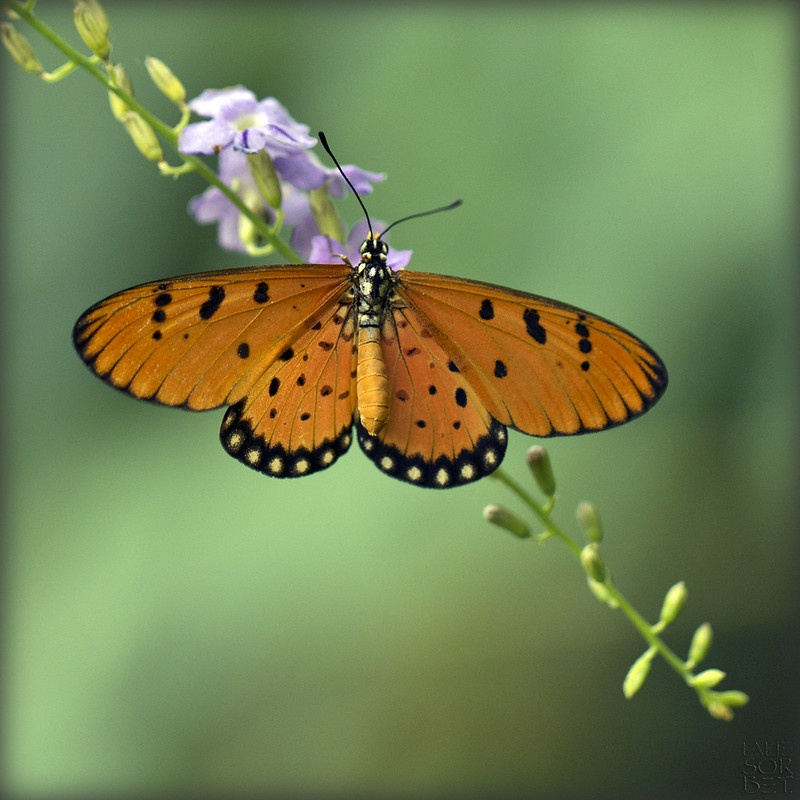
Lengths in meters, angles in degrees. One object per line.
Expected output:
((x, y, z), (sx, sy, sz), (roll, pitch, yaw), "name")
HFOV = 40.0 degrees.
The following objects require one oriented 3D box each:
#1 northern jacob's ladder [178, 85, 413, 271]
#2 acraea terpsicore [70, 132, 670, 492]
((-0.519, -0.895, 4.413), (0.679, 1.013, 0.685), (-11, 25, -26), "northern jacob's ladder")
((-0.112, -0.118, 3.983), (1.951, 0.883, 0.463), (-1, 20, 1), "acraea terpsicore")
